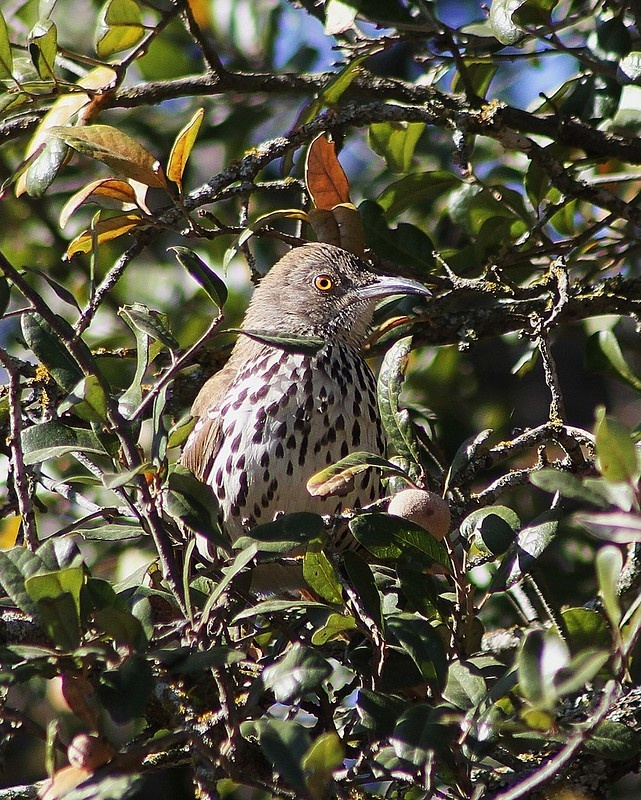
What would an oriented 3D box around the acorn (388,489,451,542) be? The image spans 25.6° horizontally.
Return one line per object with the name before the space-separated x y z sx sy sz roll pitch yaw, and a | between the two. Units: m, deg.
acorn | 0.216 0.257 3.037 0.124 0.094 0.102 -16 7 3
